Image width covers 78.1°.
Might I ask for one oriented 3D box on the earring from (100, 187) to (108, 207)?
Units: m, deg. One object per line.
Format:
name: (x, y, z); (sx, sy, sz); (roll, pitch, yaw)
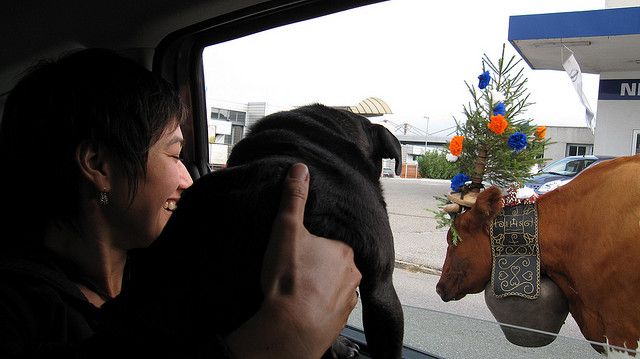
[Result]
earring: (-1.031, 0.083, 1.900); (0.028, 0.099, 0.056); (-6, 6, -38)

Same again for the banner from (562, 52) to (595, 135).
banner: (1.354, -0.468, 2.095); (0.148, 0.452, 0.363); (1, 6, 34)
